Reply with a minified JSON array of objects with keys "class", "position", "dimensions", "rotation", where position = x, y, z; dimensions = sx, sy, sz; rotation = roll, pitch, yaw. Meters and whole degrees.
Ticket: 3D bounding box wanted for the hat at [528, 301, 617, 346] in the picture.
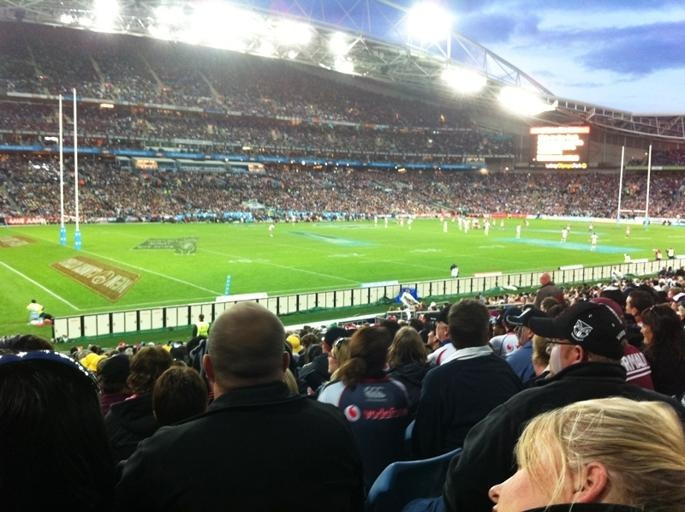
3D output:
[{"class":"hat","position":[1.764,0.499,4.627],"dimensions":[0.473,0.253,0.314],"rotation":[15,13,38]}]
